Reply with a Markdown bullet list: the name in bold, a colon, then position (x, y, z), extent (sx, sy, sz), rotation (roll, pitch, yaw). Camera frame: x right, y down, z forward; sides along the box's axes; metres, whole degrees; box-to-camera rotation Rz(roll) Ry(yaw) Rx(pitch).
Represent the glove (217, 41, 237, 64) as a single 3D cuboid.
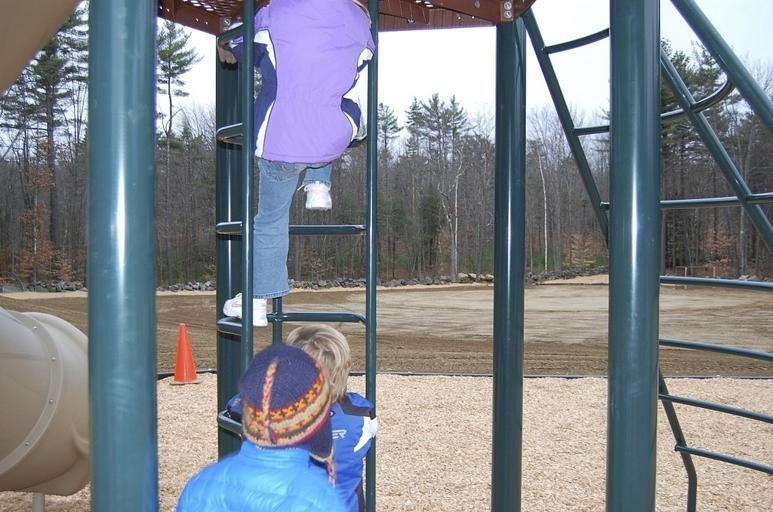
- **glove**: position (-2.211, -2.754, 12.340), extent (0.176, 0.218, 0.214), rotation (5, 28, 4)
